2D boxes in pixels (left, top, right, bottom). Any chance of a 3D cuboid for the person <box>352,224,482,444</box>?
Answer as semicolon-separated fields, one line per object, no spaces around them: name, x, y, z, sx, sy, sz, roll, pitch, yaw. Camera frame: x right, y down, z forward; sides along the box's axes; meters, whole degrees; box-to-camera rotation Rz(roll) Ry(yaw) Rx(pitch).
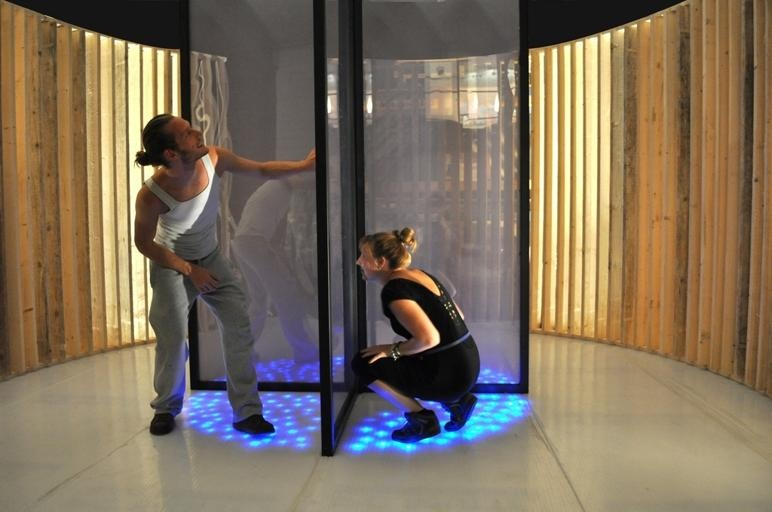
person;0.264;0.561;5.371;0.794;1.475;0.892;1;5;31

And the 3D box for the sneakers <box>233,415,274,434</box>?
sneakers;-0.905;1.156;5.183;0.242;0.103;0.123;-1;-1;29

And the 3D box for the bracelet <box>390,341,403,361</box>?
bracelet;0.085;0.648;5.079;0.111;0.128;0.081;0;4;2

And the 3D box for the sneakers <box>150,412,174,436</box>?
sneakers;-1.560;1.180;5.226;0.159;0.116;0.127;-6;12;-17

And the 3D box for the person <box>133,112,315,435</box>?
person;-1.247;0.110;5.270;0.948;2.179;0.689;-4;11;-10
